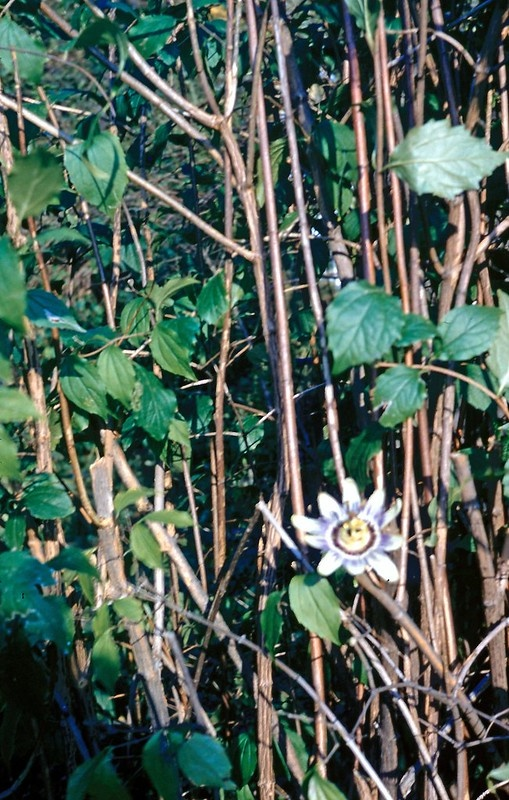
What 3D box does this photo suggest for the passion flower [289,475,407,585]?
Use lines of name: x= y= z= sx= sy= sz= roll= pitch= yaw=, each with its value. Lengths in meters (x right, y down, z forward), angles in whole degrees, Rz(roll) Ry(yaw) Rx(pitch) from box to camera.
passion flower: x=0.108 y=0.142 z=0.948 sx=0.119 sy=0.046 sz=0.130 roll=20 pitch=33 yaw=30
